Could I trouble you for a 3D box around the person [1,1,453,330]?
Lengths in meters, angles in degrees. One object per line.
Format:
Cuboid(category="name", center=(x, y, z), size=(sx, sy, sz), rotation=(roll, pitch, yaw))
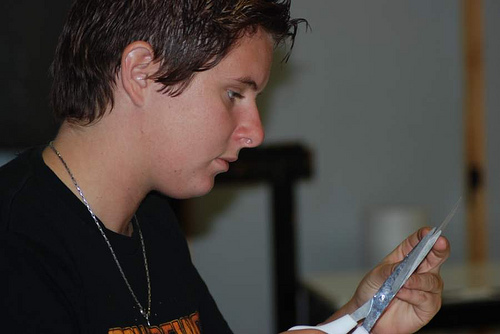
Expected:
Cuboid(category="person", center=(-0.038, -0.073, 1.952), size=(0.907, 0.776, 0.942), rotation=(4, 0, 6))
